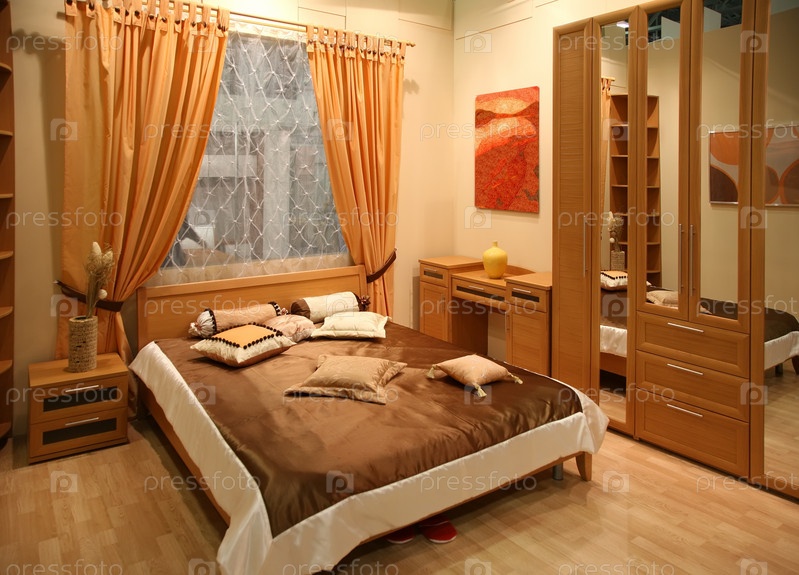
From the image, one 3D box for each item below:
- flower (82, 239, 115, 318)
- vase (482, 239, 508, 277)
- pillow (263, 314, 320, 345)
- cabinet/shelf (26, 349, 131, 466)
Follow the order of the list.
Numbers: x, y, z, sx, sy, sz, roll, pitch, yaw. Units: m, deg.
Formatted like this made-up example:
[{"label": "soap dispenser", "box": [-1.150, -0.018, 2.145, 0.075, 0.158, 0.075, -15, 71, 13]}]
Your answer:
[{"label": "flower", "box": [-2.236, -0.059, 4.145, 0.209, 0.569, 0.332, -5, 10, -28]}, {"label": "vase", "box": [0.871, -0.283, 5.072, 0.268, 0.363, 0.278, 0, -1, -2]}, {"label": "pillow", "box": [-0.857, 0.306, 4.472, 0.248, 0.124, 0.245, 5, 5, 10]}, {"label": "cabinet/shelf", "box": [-2.313, 0.852, 4.129, 0.802, 0.794, 0.592, -2, 2, -35]}]
